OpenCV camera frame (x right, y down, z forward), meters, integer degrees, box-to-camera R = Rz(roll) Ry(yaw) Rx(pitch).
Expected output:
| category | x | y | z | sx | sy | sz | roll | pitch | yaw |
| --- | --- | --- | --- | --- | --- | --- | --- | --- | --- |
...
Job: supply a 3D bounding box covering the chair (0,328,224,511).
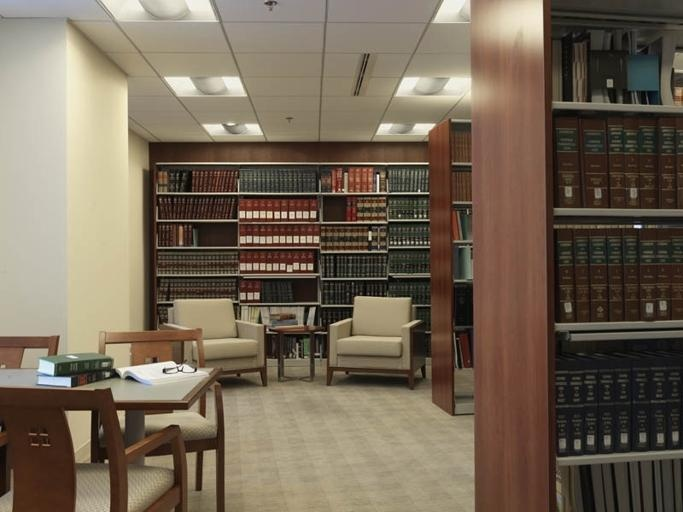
| category | x | y | z | sx | sy | sz | roll | pitch | yaw |
| --- | --- | --- | --- | --- | --- | --- | --- | --- | --- |
| chair | -1.188 | 0.847 | 2.972 | 1.129 | 0.833 | 0.712 | -1 | -5 | 0 |
